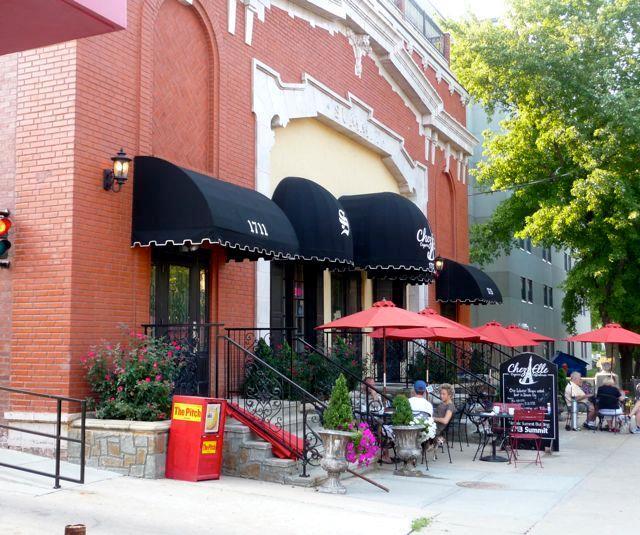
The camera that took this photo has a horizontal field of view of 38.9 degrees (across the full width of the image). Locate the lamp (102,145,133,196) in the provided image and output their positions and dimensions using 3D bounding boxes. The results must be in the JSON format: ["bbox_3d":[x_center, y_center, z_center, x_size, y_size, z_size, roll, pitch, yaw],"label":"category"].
[{"bbox_3d":[-3.600,-1.708,15.876,0.411,0.720,0.364,-8,-11,39],"label":"lamp"}]

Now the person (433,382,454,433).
[{"bbox_3d":[2.483,2.853,18.239,0.391,1.005,0.889,-1,-9,7],"label":"person"}]

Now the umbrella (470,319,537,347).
[{"bbox_3d":[4.212,1.546,21.117,0.936,0.645,2.364,-6,-11,29],"label":"umbrella"}]

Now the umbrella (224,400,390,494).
[{"bbox_3d":[-0.280,3.075,15.441,3.456,1.719,1.168,-6,-11,37],"label":"umbrella"}]

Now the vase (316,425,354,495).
[{"bbox_3d":[0.233,3.169,14.820,0.638,1.062,0.513,-4,-9,21],"label":"vase"}]
